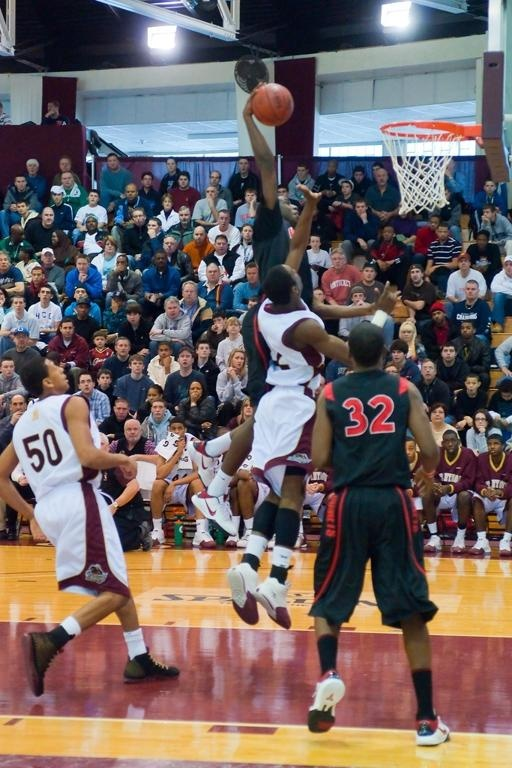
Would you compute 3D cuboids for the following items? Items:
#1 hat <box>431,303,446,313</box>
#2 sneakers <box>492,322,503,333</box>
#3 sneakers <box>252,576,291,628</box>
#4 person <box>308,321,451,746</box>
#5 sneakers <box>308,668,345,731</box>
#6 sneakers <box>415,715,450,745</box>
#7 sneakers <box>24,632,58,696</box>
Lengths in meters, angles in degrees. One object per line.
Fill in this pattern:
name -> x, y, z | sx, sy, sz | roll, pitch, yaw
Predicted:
hat -> 2.357, -1.003, 9.989 | 0.159, 0.164, 0.211 | 4, -17, 2
sneakers -> 3.171, -0.736, 10.113 | 0.139, 0.120, 0.132 | -2, 7, -2
sneakers -> 0.069, 0.935, 3.298 | 0.135, 0.229, 0.249 | -2, -6, 13
person -> 0.392, 0.546, 2.559 | 0.450, 1.203, 0.460 | -2, -6, 7
sneakers -> 0.221, 0.967, 2.365 | 0.084, 0.207, 0.091 | 8, 32, -14
sneakers -> 0.543, 1.081, 2.420 | 0.058, 0.058, 0.145 | -1, -5, 22
sneakers -> -0.824, 1.043, 2.974 | 0.123, 0.259, 0.090 | -2, 4, 1
